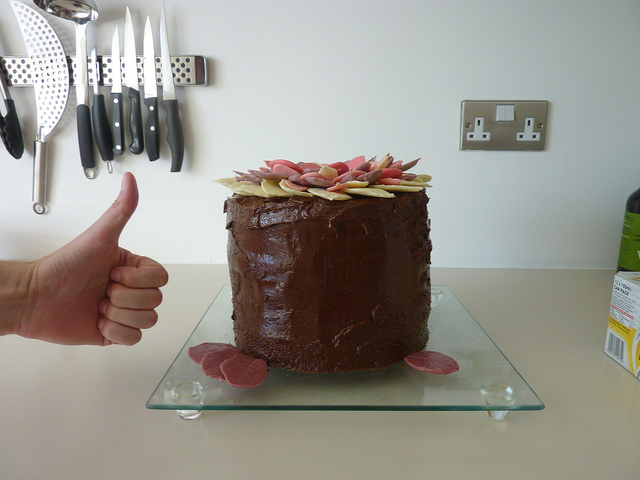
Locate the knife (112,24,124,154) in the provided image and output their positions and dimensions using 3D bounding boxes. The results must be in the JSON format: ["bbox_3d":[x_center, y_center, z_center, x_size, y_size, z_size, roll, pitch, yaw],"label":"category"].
[{"bbox_3d":[-0.556,-0.414,1.452,0.039,0.293,0.024,1,7,-6],"label":"knife"}]

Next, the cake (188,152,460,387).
[{"bbox_3d":[0.020,0.037,0.931,0.441,0.367,0.222,1,18,-6],"label":"cake"}]

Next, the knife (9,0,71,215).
[{"bbox_3d":[-0.774,-0.397,1.477,0.136,0.491,0.055,3,14,6],"label":"knife"}]

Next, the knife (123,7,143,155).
[{"bbox_3d":[-0.522,-0.443,1.455,0.038,0.379,0.091,-4,19,-21],"label":"knife"}]

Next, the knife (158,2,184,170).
[{"bbox_3d":[-0.418,-0.430,1.474,0.057,0.442,0.105,-3,18,-17],"label":"knife"}]

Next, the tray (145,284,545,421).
[{"bbox_3d":[0.037,0.127,1.103,0.593,0.145,0.505,-2,14,-7],"label":"tray"}]

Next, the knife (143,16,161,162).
[{"bbox_3d":[-0.469,-0.414,1.448,0.039,0.374,0.058,-3,18,-17],"label":"knife"}]
